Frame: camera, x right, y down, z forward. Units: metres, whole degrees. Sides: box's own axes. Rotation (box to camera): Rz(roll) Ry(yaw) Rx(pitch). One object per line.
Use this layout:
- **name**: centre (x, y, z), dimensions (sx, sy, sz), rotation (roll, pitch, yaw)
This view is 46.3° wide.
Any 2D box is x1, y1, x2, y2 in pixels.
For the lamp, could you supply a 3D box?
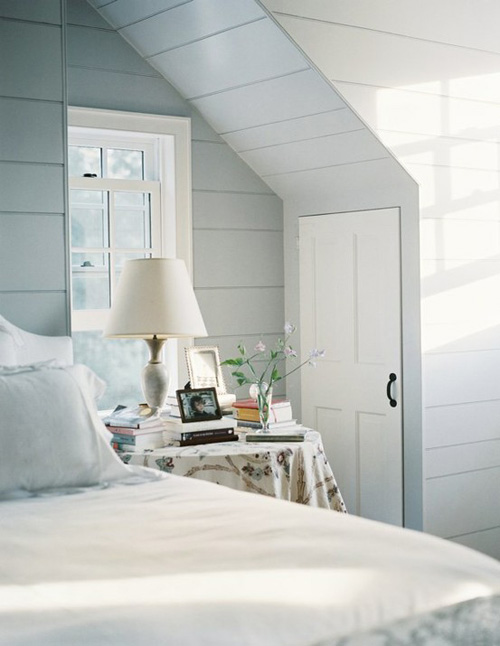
- **lamp**: centre (-0.395, 0.070, 2.393), dimensions (0.438, 0.634, 0.390), rotation (-2, -5, 12)

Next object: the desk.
- **desk**: centre (-0.008, 0.482, 2.141), dimensions (0.446, 0.224, 0.492), rotation (-15, -7, 34)

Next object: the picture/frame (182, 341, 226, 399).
- **picture/frame**: centre (-0.215, 0.219, 2.638), dimensions (0.286, 0.324, 0.033), rotation (1, -15, -42)

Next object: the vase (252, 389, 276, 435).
- **vase**: centre (0.056, 0.356, 2.423), dimensions (0.085, 0.198, 0.080), rotation (14, -19, -40)

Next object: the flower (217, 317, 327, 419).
- **flower**: centre (0.069, 0.310, 3.173), dimensions (0.436, 0.478, 0.471), rotation (-1, 0, 33)
